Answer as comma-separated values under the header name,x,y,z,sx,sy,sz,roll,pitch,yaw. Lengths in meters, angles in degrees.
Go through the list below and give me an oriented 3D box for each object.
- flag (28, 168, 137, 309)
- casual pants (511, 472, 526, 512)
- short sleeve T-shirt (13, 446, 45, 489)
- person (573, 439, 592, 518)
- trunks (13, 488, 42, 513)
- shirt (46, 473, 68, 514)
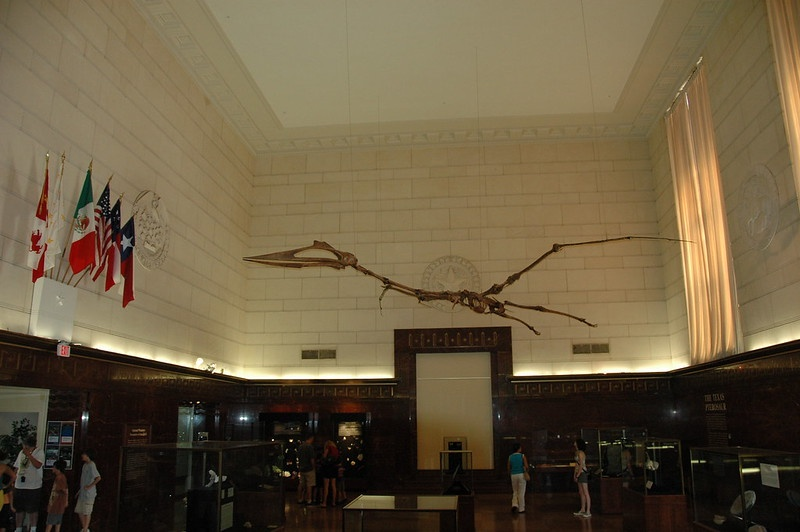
name,x,y,z,sx,sy,sz,roll,pitch,yaw
flag,-6.974,-0.537,12.716,0.804,3.901,2.228,-7,-19,21
casual pants,3.158,5.989,15.563,0.403,0.928,0.512,-4,-20,10
short sleeve T-shirt,-7.685,4.185,12.125,0.510,0.786,0.542,9,-22,-26
person,4.834,5.631,15.700,0.431,1.945,1.306,-7,-21,16
trunks,-7.713,4.809,12.076,0.555,0.594,0.339,1,0,1
shirt,-7.003,4.678,12.108,0.356,0.754,0.388,16,-25,-38
